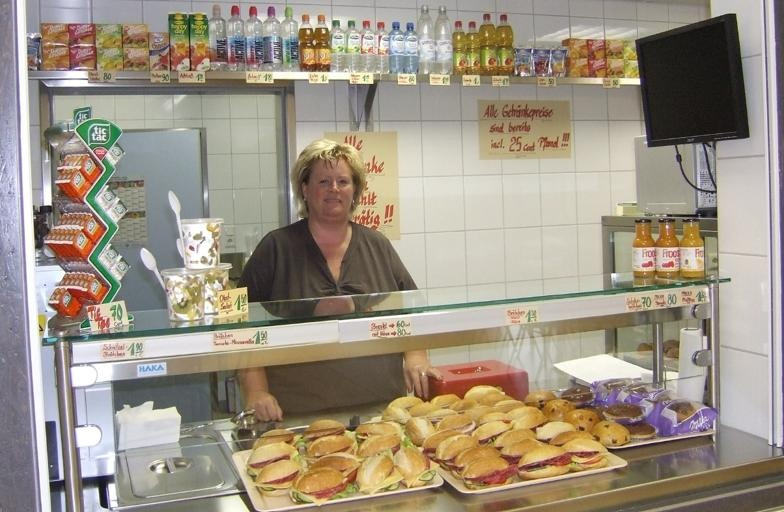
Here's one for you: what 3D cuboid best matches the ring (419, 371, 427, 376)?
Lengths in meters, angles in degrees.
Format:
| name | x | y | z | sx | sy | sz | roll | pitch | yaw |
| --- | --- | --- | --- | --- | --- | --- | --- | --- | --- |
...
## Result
| name | x | y | z | sx | sy | sz | roll | pitch | yaw |
| --- | --- | --- | --- | --- | --- | --- | --- | --- | --- |
| ring | 0.098 | 0.372 | 1.877 | 0.019 | 0.004 | 0.018 | 0 | 4 | 0 |

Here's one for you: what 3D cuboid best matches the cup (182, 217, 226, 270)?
| name | x | y | z | sx | sy | sz | roll | pitch | yaw |
| --- | --- | --- | --- | --- | --- | --- | --- | --- | --- |
| cup | -0.497 | -0.033 | 1.549 | 0.102 | 0.126 | 0.101 | -5 | 6 | 1 |

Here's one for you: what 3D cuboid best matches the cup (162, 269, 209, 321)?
| name | x | y | z | sx | sy | sz | roll | pitch | yaw |
| --- | --- | --- | --- | --- | --- | --- | --- | --- | --- |
| cup | -0.533 | 0.092 | 1.561 | 0.133 | 0.131 | 0.131 | 0 | 6 | 0 |

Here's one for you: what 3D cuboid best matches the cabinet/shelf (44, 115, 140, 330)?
| name | x | y | z | sx | sy | sz | roll | pitch | yaw |
| --- | --- | --- | --- | --- | --- | --- | --- | --- | --- |
| cabinet/shelf | -0.816 | -0.093 | 1.538 | 0.253 | 0.517 | 0.256 | -6 | 6 | -8 |
